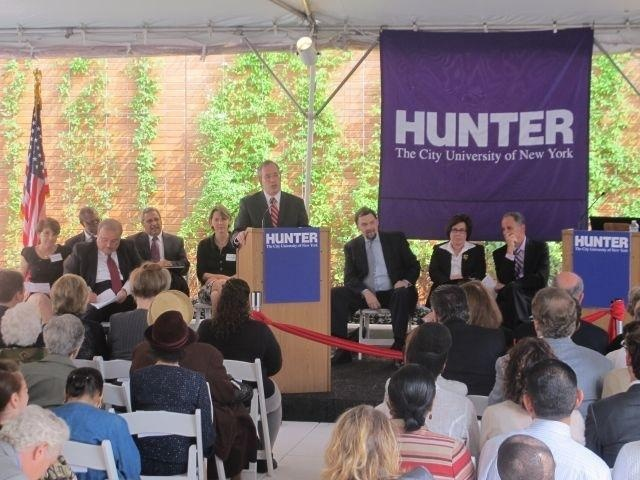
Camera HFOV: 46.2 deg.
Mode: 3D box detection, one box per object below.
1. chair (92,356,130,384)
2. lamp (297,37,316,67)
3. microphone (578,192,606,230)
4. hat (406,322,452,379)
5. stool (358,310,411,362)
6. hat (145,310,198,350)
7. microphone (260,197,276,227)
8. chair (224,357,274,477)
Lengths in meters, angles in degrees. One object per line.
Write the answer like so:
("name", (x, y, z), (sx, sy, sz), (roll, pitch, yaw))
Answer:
("chair", (-1.399, 0.848, 5.025), (0.235, 0.166, 0.188), (1, 1, -18))
("lamp", (-0.137, -2.002, 7.836), (0.207, 0.299, 0.414), (1, 0, -1))
("microphone", (3.095, -0.328, 8.554), (0.228, 0.154, 0.549), (-25, -18, 21))
("hat", (0.615, 0.605, 4.245), (0.246, 0.466, 0.289), (2, 6, 2))
("stool", (0.704, 1.036, 8.327), (0.597, 0.586, 0.528), (1, -3, 0))
("hat", (-0.911, 0.538, 4.428), (0.243, 0.223, 0.146), (1, 1, -13))
("microphone", (-0.513, -0.280, 7.334), (0.059, 0.249, 0.169), (3, 1, -16))
("chair", (-0.488, 1.234, 5.283), (0.307, 0.861, 0.500), (1, 1, 12))
